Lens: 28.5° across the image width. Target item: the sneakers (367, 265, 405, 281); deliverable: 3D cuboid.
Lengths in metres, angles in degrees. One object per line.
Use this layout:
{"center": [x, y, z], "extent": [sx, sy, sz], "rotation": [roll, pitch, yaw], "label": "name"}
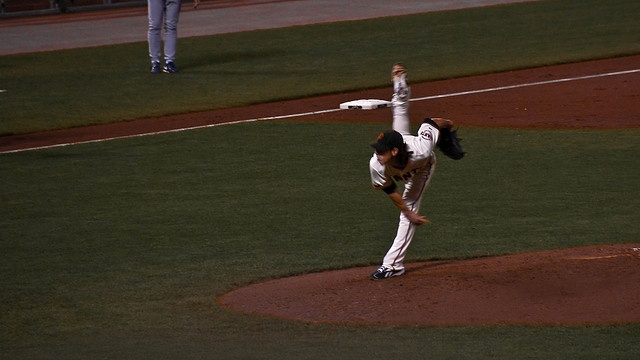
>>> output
{"center": [1.175, 1.652, 22.097], "extent": [0.727, 0.182, 0.204], "rotation": [0, 21, -5], "label": "sneakers"}
